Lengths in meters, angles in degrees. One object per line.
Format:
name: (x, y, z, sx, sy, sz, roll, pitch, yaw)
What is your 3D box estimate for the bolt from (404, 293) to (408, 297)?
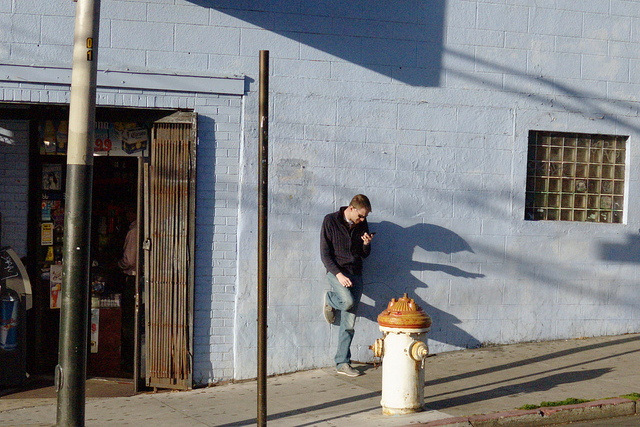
bolt: (1.269, 1.189, 19.782, 0.064, 0.063, 0.064, -1, -1, -7)

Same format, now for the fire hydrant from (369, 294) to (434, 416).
fire hydrant: (1.285, 2.074, 19.888, 0.995, 1.674, 0.882, -4, 7, -38)
